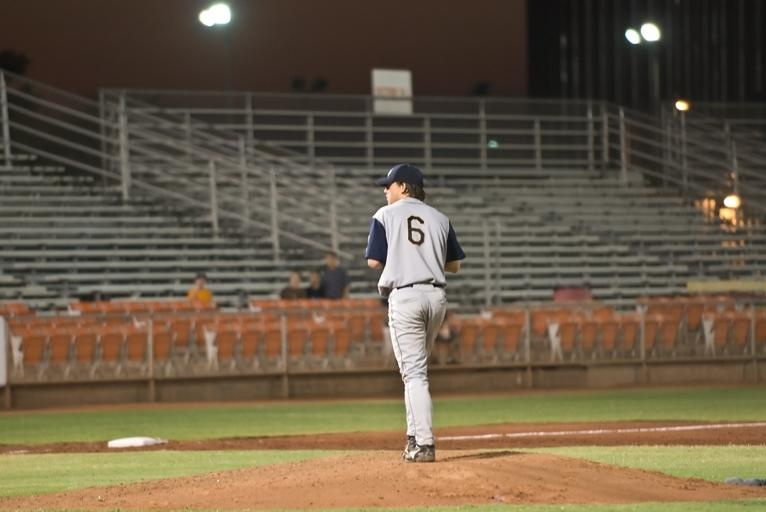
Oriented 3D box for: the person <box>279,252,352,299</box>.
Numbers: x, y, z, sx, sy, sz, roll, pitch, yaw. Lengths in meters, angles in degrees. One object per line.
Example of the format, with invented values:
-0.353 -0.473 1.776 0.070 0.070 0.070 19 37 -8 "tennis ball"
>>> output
-1.148 0.360 39.670 1.117 0.847 0.477 -1 -5 -6 "person"
